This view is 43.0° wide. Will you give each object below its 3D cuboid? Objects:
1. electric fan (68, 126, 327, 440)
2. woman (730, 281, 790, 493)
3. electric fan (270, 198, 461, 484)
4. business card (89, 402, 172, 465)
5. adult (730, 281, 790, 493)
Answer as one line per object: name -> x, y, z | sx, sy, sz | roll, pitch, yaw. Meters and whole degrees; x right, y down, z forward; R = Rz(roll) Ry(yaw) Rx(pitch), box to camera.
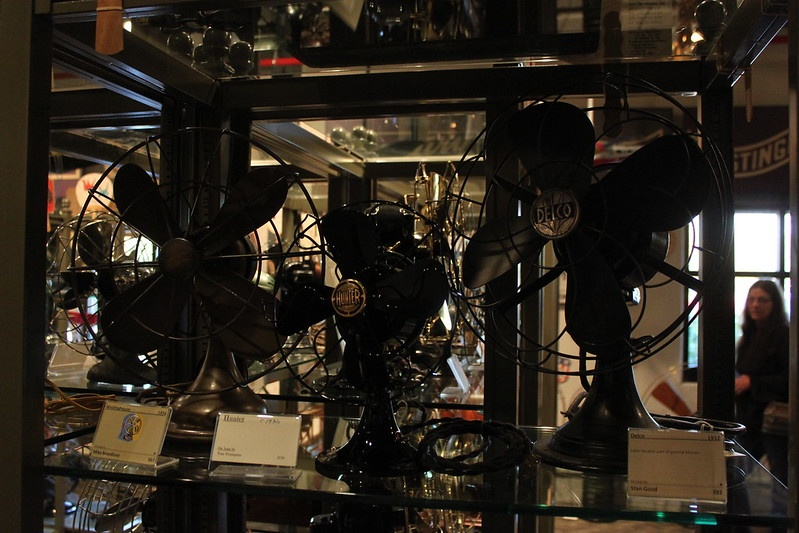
electric fan -> -0.722, 0.071, 3.451 | 1.066, 1.297, 0.586 | 0, -4, 5
woman -> 1.947, 0.560, 5.448 | 0.264, 1.059, 0.552 | -1, -16, 19
electric fan -> -0.136, 0.212, 3.242 | 0.518, 0.924, 0.397 | 6, -15, -7
business card -> -0.829, 0.529, 3.158 | 0.177, 0.133, 0.020 | 8, -16, 23
adult -> 1.946, 0.560, 5.448 | 0.264, 1.059, 0.552 | -1, -16, 19
